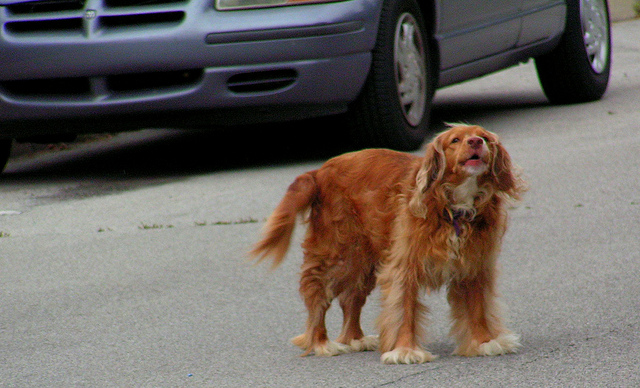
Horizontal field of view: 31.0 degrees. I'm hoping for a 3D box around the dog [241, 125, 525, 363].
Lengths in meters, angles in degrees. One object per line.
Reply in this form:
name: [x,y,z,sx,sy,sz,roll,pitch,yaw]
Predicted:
dog: [0.473,0.319,8.100,2.203,1.647,1.161,1,3,38]
